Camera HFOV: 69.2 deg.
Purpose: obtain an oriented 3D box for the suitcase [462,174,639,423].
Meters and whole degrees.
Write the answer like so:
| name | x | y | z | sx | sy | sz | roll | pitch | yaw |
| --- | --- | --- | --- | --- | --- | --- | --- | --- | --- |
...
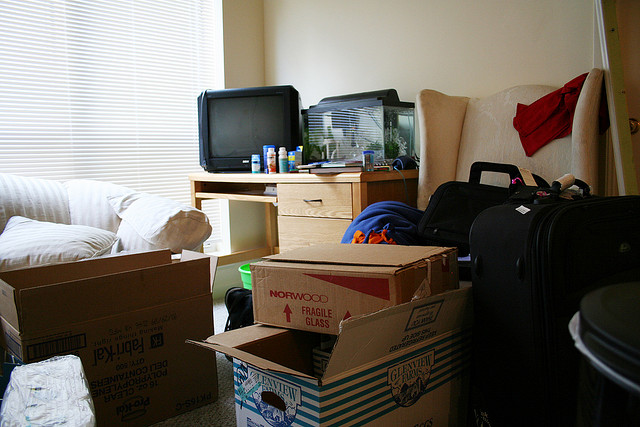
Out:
| name | x | y | z | sx | sy | sz | roll | pitch | yaw |
| --- | --- | --- | --- | --- | --- | --- | --- | --- | --- |
| suitcase | 0.697 | 0.331 | 1.395 | 0.512 | 0.730 | 0.267 | -1 | 8 | 15 |

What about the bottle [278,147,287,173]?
| name | x | y | z | sx | sy | sz | roll | pitch | yaw |
| --- | --- | --- | --- | --- | --- | --- | --- | --- | --- |
| bottle | -0.226 | -0.330 | 2.824 | 0.052 | 0.147 | 0.067 | -3 | 7 | -5 |

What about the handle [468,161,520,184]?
| name | x | y | z | sx | sy | sz | roll | pitch | yaw |
| --- | --- | --- | --- | --- | --- | --- | --- | --- | --- |
| handle | 0.784 | -0.189 | 2.074 | 0.212 | 0.089 | 0.184 | 1 | 9 | 27 |

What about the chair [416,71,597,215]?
| name | x | y | z | sx | sy | sz | roll | pitch | yaw |
| --- | --- | --- | --- | --- | --- | --- | --- | --- | --- |
| chair | 0.909 | -0.362 | 2.315 | 0.407 | 0.672 | 0.697 | 9 | -6 | -44 |

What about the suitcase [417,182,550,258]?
| name | x | y | z | sx | sy | sz | roll | pitch | yaw |
| --- | --- | --- | --- | --- | --- | --- | --- | --- | --- |
| suitcase | 0.573 | -0.014 | 1.904 | 0.319 | 0.134 | 0.417 | 7 | 38 | 35 |

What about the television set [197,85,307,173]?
| name | x | y | z | sx | sy | sz | roll | pitch | yaw |
| --- | --- | --- | --- | --- | --- | --- | --- | --- | --- |
| television set | -0.473 | -0.576 | 3.153 | 0.811 | 0.549 | 0.260 | 4 | 10 | 6 |

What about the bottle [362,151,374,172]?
| name | x | y | z | sx | sy | sz | roll | pitch | yaw |
| --- | --- | --- | --- | --- | --- | --- | --- | --- | --- |
| bottle | 0.250 | -0.270 | 2.398 | 0.055 | 0.107 | 0.102 | -2 | 8 | 7 |

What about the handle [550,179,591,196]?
| name | x | y | z | sx | sy | sz | roll | pitch | yaw |
| --- | --- | --- | --- | --- | --- | --- | --- | --- | --- |
| handle | 0.860 | -0.089 | 1.594 | 0.067 | 0.067 | 0.024 | 4 | -13 | 2 |
